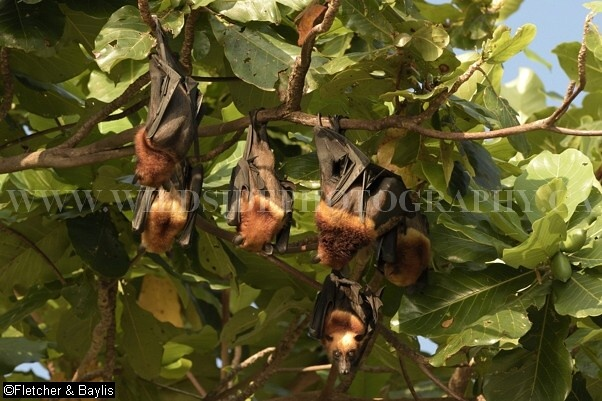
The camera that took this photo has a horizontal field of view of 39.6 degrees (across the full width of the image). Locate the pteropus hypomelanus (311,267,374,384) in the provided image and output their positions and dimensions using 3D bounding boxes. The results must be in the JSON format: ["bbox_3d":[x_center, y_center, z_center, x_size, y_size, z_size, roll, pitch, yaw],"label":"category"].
[{"bbox_3d":[0.198,0.599,4.008,0.358,0.439,0.149,12,13,4],"label":"pteropus hypomelanus"}]

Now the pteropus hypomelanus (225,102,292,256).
[{"bbox_3d":[-0.169,-0.069,3.982,0.334,0.648,0.196,13,-21,-5],"label":"pteropus hypomelanus"}]

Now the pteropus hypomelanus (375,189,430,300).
[{"bbox_3d":[0.503,0.213,4.121,0.272,0.475,0.186,-18,-40,32],"label":"pteropus hypomelanus"}]

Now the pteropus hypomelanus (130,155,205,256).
[{"bbox_3d":[-0.649,0.052,3.996,0.315,0.462,0.180,17,17,17],"label":"pteropus hypomelanus"}]
